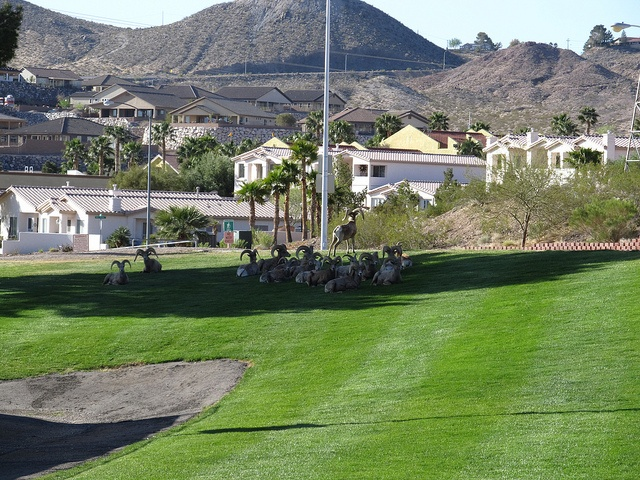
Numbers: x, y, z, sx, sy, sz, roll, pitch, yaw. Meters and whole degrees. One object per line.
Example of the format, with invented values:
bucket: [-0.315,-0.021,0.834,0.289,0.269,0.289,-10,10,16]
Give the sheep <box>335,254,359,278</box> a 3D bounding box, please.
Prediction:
sheep: [1.658,1.632,85.780,1.618,1.535,0.967,-16,-12,21]

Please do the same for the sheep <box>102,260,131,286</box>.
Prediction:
sheep: [-13.959,2.273,90.638,1.296,1.454,1.844,0,-8,-40]

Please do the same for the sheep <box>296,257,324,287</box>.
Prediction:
sheep: [-1.013,2.106,87.929,2.085,2.089,1.197,-16,-19,29]

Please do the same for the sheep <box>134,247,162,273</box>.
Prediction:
sheep: [-12.221,1.479,94.974,1.245,1.438,2.249,-4,-6,3]

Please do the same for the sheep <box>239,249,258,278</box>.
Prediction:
sheep: [-5.073,1.639,92.392,0.889,1.976,2.314,2,5,38]

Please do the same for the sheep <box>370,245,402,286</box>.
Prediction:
sheep: [4.222,1.511,85.127,2.395,2.363,1.443,14,18,43]

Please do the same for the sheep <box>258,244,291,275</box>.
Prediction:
sheep: [-3.311,1.259,91.848,2.424,1.875,1.218,-15,-5,21]

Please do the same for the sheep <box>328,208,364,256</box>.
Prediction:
sheep: [1.549,-0.583,91.954,1.324,3.037,3.589,-4,1,34]

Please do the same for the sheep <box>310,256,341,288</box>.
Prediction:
sheep: [0.083,2.104,86.459,2.494,1.781,1.216,-27,-14,29]
